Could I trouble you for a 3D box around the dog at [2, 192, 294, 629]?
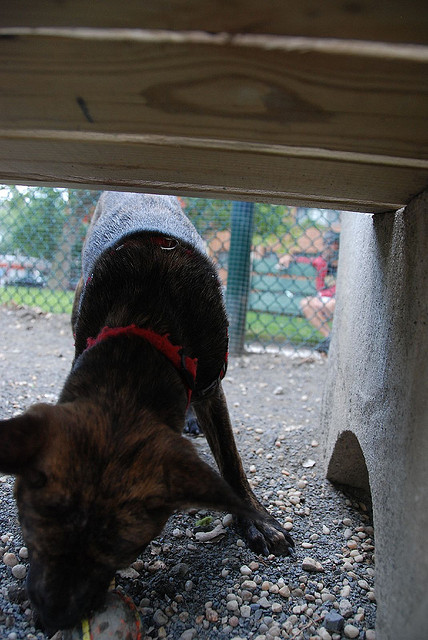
[{"bbox_3d":[-0.234,0.163,2.050,0.792,0.818,1.728,-4,35,-8],"label":"dog"}]
